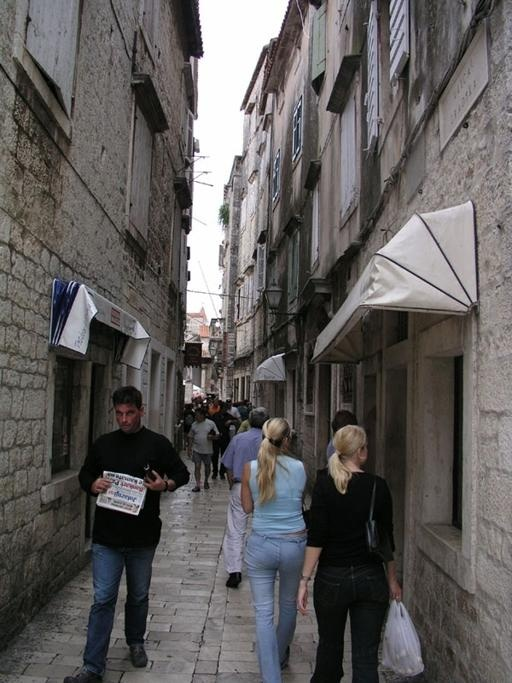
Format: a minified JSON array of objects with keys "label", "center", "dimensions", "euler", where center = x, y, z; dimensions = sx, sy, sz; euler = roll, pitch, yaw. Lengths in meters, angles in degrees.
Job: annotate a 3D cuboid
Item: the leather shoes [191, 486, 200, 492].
[{"label":"leather shoes","center":[-1.194,2.952,11.201],"dimensions":[0.131,0.135,0.092],"euler":[16,-6,-7]}]
